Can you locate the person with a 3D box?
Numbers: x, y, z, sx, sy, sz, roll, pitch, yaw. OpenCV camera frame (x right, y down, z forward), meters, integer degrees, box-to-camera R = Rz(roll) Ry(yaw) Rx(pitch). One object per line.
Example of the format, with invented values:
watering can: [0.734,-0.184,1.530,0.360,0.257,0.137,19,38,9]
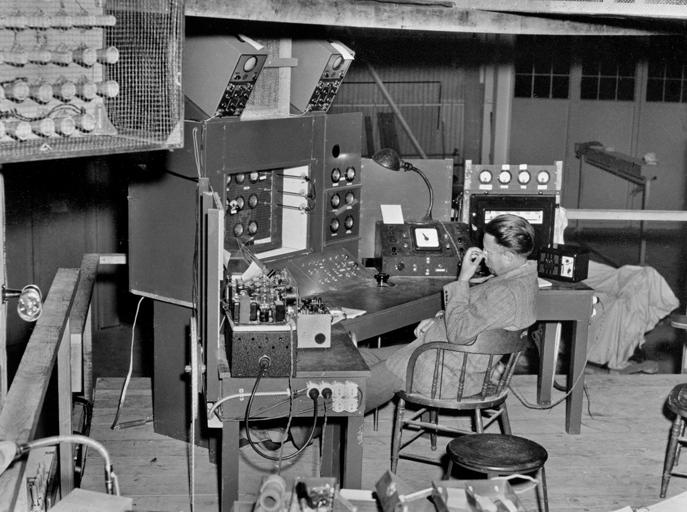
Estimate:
person: [0.456,0.298,5.391,1.269,1.656,0.714,4,5,6]
